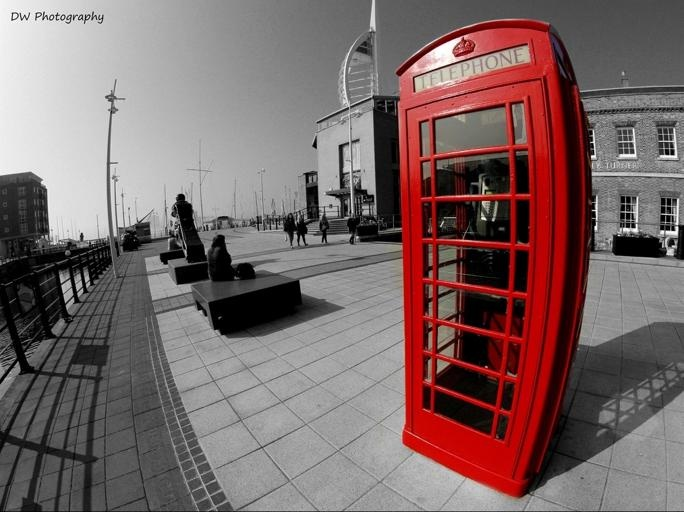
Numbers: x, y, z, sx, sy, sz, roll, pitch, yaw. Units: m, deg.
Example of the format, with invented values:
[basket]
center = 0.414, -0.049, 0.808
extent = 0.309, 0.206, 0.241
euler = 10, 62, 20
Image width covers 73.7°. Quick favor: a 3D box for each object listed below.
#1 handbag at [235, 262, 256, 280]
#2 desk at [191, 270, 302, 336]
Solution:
[handbag]
center = -2.101, 0.355, 9.905
extent = 0.282, 0.355, 0.403
euler = -5, 1, -23
[desk]
center = -1.832, 0.953, 9.366
extent = 2.060, 0.795, 1.332
euler = -7, 11, -24
